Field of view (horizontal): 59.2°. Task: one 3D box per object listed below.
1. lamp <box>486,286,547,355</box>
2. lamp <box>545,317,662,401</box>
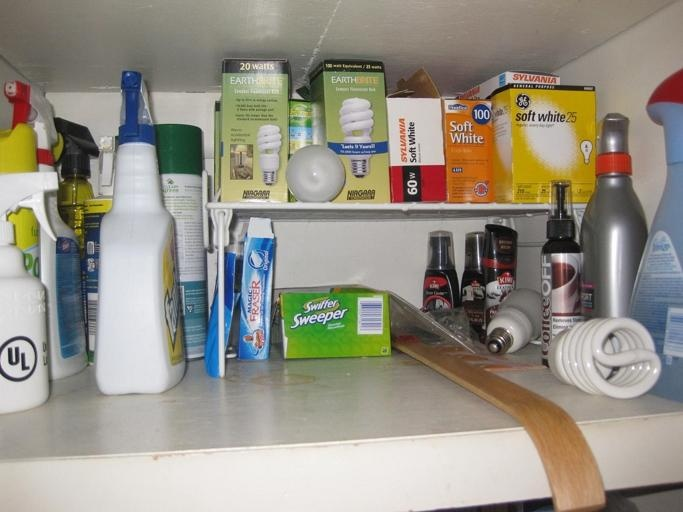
[{"bbox_3d":[0.317,0.114,1.150,0.075,0.073,0.145,-41,-11,35],"label":"lamp"},{"bbox_3d":[0.378,0.140,0.905,0.122,0.126,0.148,-2,0,11],"label":"lamp"}]
